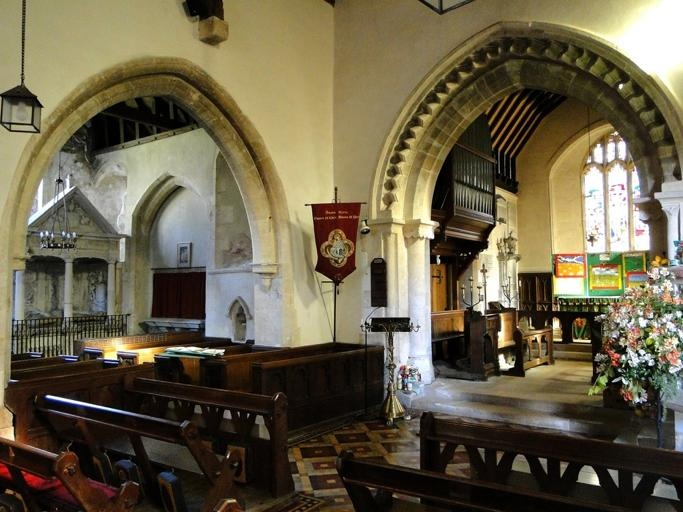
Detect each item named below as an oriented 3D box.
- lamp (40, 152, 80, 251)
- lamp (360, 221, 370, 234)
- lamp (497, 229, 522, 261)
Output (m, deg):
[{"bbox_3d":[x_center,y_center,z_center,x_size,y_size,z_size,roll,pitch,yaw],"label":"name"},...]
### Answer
[{"bbox_3d":[-6.645,-1.458,12.688,0.795,2.741,2.947,0,-6,-29],"label":"lamp"},{"bbox_3d":[0.369,-0.453,8.460,0.174,0.211,0.190,-2,-33,4],"label":"lamp"},{"bbox_3d":[4.648,-0.245,15.083,0.807,1.106,0.856,0,-2,9],"label":"lamp"}]
